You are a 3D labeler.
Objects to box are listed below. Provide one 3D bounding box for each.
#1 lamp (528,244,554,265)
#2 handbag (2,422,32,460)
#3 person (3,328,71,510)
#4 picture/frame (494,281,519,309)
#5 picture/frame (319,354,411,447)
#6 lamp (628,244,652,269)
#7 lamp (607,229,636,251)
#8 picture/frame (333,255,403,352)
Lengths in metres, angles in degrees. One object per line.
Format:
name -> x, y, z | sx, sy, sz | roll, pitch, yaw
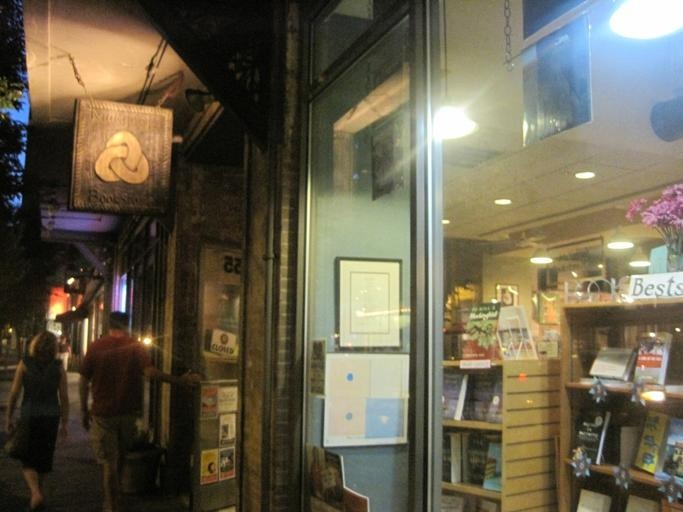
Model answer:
lamp -> 0.944, -0.002, 3.229 | 0.079, 0.088, 0.085 | -1, -10, 0
handbag -> -3.114, 1.779, 6.584 | 0.146, 0.392, 0.383 | 6, -9, -39
person -> -2.894, 1.593, 6.499 | 0.516, 1.750, 0.636 | 4, -8, -26
picture/frame -> 0.823, 0.190, 3.412 | 0.157, 0.015, 0.204 | -2, -49, 8
picture/frame -> 0.126, 0.910, 4.208 | 0.094, 0.615, 0.890 | 4, -8, -28
lamp -> 1.366, 0.008, 3.137 | 0.090, 0.115, 0.107 | -1, -8, 4
lamp -> 1.251, -0.061, 3.072 | 0.097, 0.116, 0.105 | 1, -3, 4
picture/frame -> 0.177, 0.302, 4.291 | 0.514, 0.589, 0.053 | -3, -7, 40
